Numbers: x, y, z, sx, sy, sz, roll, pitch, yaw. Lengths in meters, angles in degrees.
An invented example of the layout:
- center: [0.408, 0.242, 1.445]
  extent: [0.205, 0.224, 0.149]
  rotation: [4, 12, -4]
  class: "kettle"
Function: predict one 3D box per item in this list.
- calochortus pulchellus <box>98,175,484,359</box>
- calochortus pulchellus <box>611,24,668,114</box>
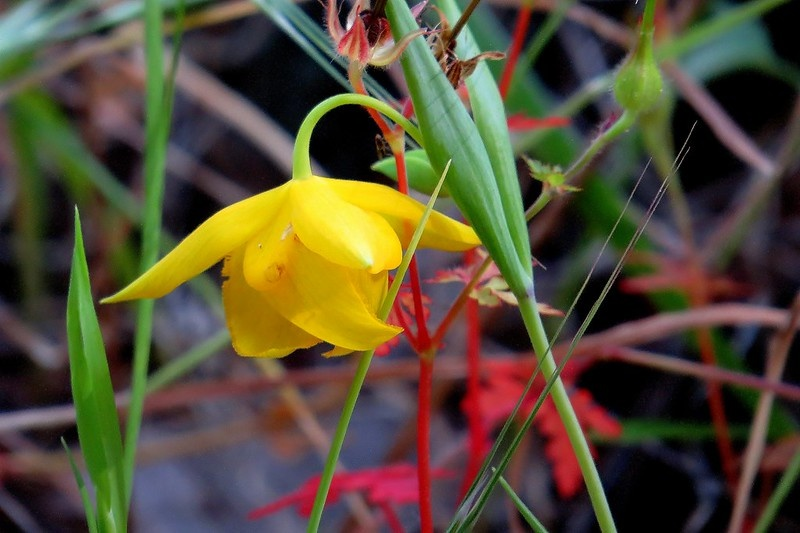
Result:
- center: [-0.150, -0.027, 1.071]
  extent: [0.342, 0.219, 0.414]
  rotation: [4, -4, -14]
  class: "calochortus pulchellus"
- center: [0.292, -0.226, 1.044]
  extent: [0.043, 0.116, 0.067]
  rotation: [7, -3, -36]
  class: "calochortus pulchellus"
